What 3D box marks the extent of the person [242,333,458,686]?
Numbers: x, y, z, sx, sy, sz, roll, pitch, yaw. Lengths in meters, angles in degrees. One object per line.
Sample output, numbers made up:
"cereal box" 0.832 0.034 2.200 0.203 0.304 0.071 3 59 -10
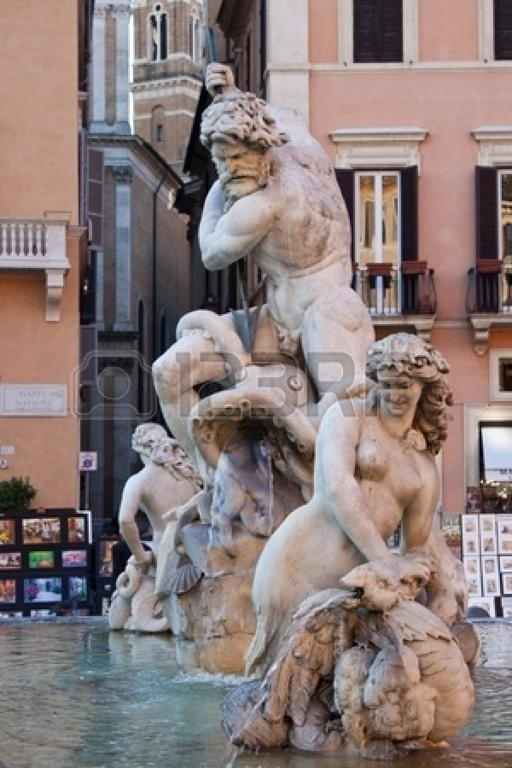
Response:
"person" 0.301 0.332 5.324 0.627 0.959 0.468 -1 -2 -1
